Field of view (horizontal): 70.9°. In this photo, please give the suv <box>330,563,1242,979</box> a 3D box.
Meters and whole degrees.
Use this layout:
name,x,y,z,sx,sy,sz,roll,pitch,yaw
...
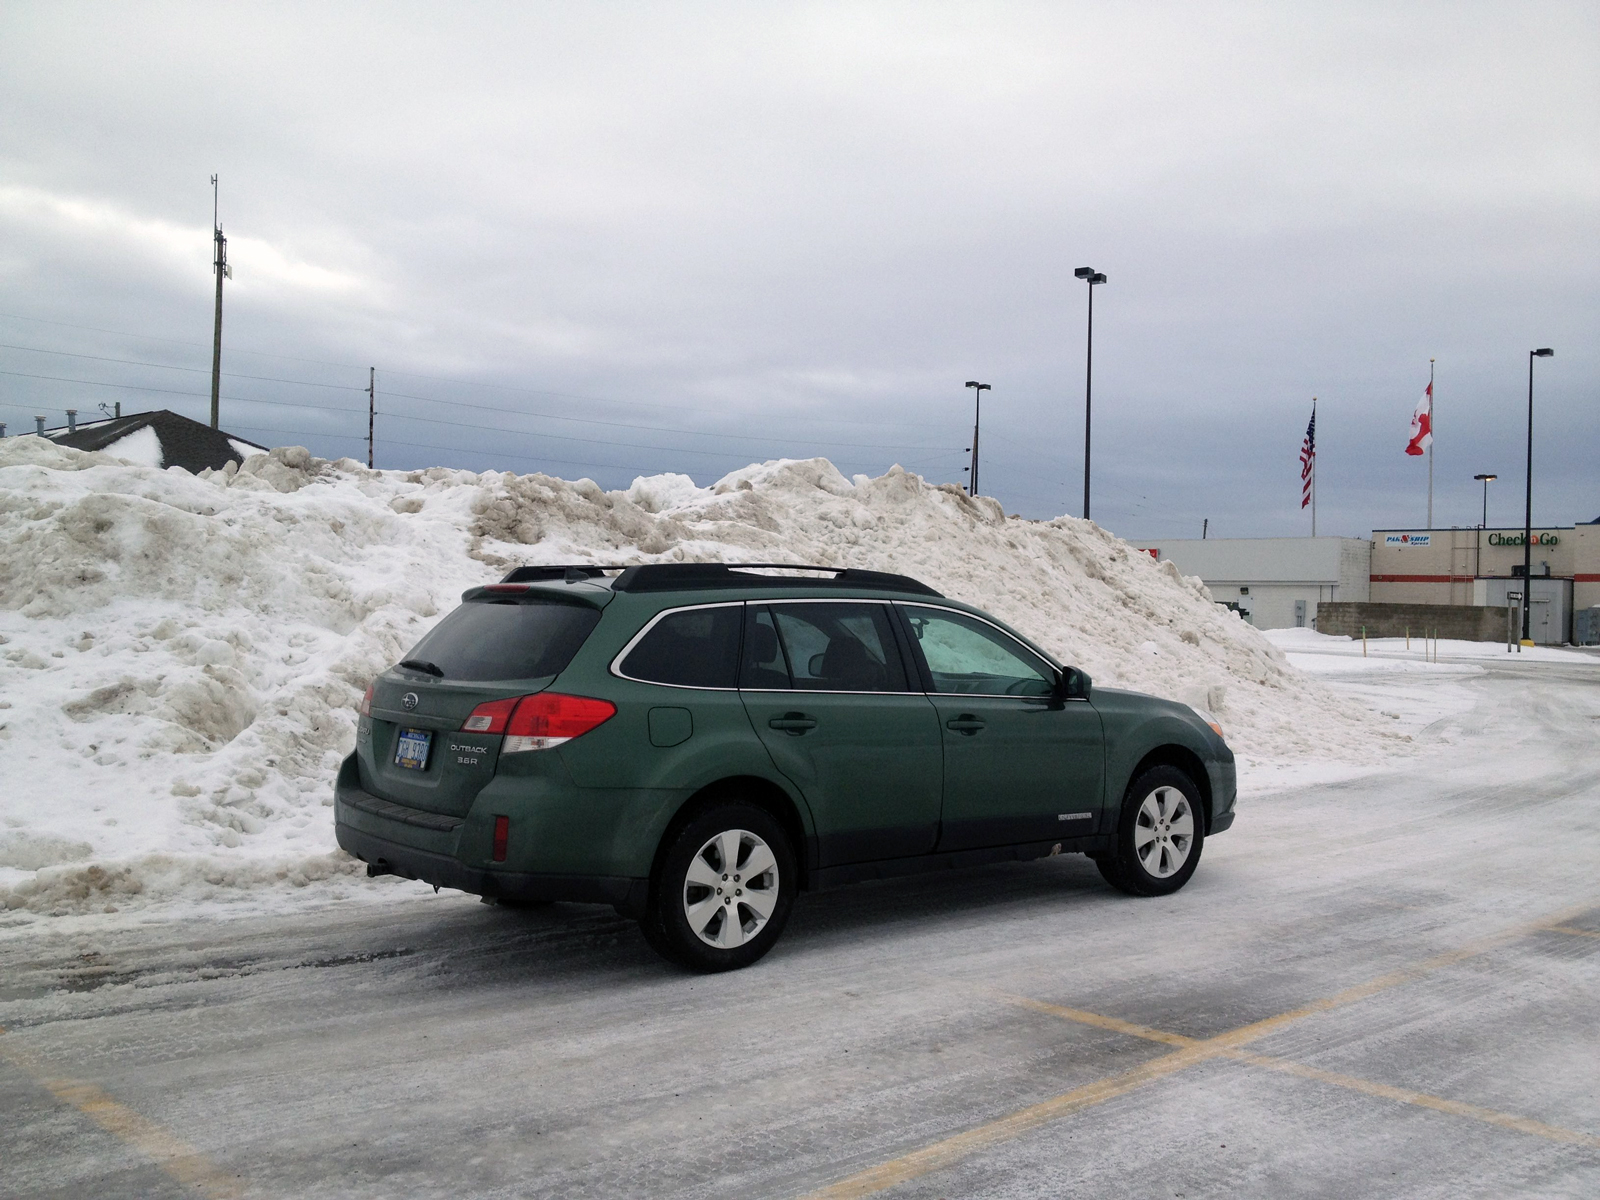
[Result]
name,x,y,z,sx,sy,sz,roll,pitch,yaw
suv,0.229,0.937,7.570,5.768,2.286,1.905,1,1,-33
